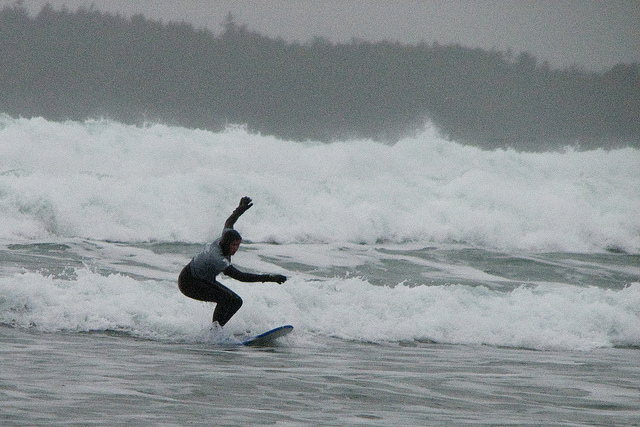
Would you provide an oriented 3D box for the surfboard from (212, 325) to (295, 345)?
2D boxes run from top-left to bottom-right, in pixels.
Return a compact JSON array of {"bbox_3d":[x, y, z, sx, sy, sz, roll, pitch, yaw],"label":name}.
[{"bbox_3d":[-1.826,3.213,32.976,1.981,0.237,0.408,-3,-37,-12],"label":"surfboard"}]
